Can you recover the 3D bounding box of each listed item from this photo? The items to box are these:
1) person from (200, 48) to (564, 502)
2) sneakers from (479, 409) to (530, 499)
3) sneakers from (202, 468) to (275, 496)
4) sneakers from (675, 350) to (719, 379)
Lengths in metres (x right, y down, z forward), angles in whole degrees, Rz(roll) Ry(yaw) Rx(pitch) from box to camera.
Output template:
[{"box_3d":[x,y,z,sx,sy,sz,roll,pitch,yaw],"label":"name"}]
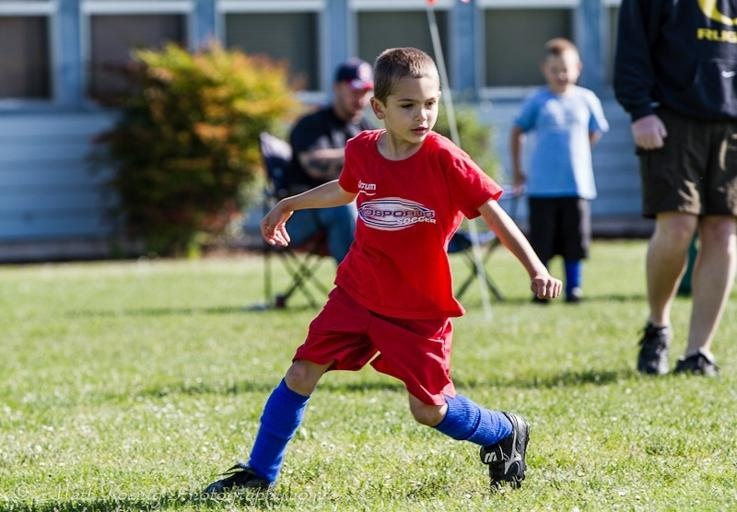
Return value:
[{"box_3d":[0.134,0.239,5.138,1.370,1.611,0.472,-1,10,5],"label":"person"},{"box_3d":[0.631,0.927,5.176,0.132,0.420,0.184,-8,-17,30],"label":"sneakers"},{"box_3d":[-0.580,1.024,5.113,0.265,0.129,0.119,4,-11,-5],"label":"sneakers"},{"box_3d":[1.779,0.596,6.122,0.216,0.106,0.107,-5,-4,17],"label":"sneakers"}]
